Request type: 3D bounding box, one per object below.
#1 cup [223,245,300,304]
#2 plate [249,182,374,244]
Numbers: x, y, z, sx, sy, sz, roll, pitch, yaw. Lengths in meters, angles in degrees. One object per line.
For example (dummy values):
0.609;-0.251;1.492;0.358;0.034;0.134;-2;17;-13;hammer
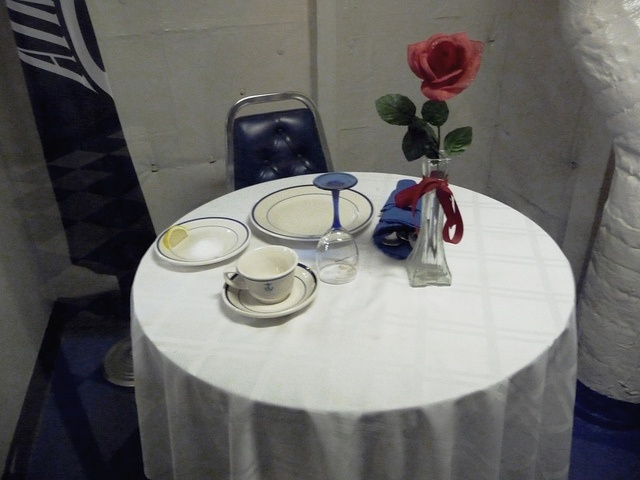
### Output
-0.138;0.102;1.308;0.166;0.088;0.121;-12;49;-4;cup
-0.022;-0.094;1.604;0.223;0.031;0.223;-6;34;-10;plate
